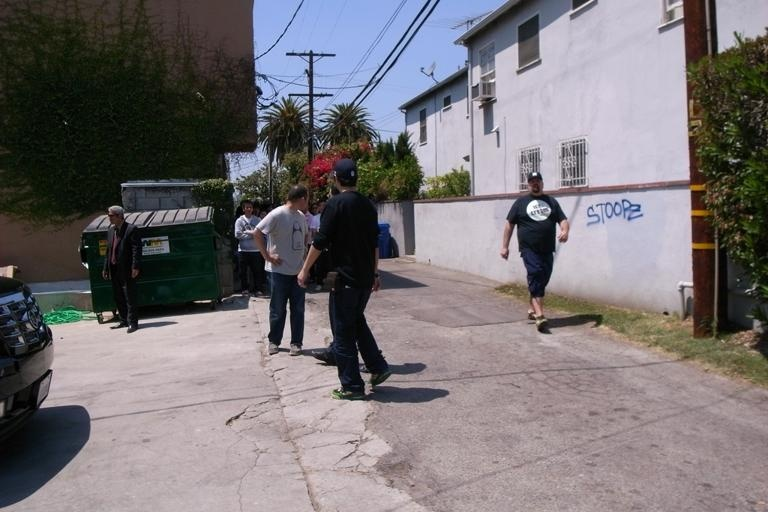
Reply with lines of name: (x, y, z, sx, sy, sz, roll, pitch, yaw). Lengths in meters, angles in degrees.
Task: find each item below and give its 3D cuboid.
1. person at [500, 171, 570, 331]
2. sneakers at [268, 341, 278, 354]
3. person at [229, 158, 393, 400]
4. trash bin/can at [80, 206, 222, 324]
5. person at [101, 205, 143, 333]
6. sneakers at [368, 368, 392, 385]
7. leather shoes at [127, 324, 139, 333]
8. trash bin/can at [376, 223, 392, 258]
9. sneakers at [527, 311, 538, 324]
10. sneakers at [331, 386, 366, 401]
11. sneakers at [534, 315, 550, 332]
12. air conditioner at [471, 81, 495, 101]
person: (2.405, -0.096, 8.827, 0.983, 2.354, 0.817, 5, 12, 35)
sneakers: (-1.579, 1.308, 7.773, 0.139, 0.142, 0.145, 0, 2, 10)
person: (-0.418, 0.252, 6.251, 0.880, 2.630, 0.655, -2, 9, -2)
trash bin/can: (-4.655, 0.085, 11.652, 2.731, 2.170, 1.777, -6, -2, -5)
person: (-4.707, 0.234, 9.953, 0.577, 2.199, 1.002, -10, 13, -41)
sneakers: (-0.047, 1.383, 6.359, 0.145, 0.121, 0.316, 31, -41, -13)
leather shoes: (-4.463, 1.276, 9.723, 0.182, 0.115, 0.371, -6, 11, -22)
trash bin/can: (-0.043, -0.549, 21.161, 0.705, 1.282, 0.737, -3, 10, 3)
sneakers: (2.438, 1.011, 8.986, 0.175, 0.209, 0.497, -1, -5, -2)
sneakers: (-0.411, 1.563, 6.157, 0.318, 0.157, 0.151, 7, -6, -2)
sneakers: (2.468, 1.074, 8.572, 0.120, 0.143, 0.290, -12, -19, -8)
air conditioner: (3.521, -5.738, 19.270, 0.750, 0.664, 1.193, -1, 0, 15)
